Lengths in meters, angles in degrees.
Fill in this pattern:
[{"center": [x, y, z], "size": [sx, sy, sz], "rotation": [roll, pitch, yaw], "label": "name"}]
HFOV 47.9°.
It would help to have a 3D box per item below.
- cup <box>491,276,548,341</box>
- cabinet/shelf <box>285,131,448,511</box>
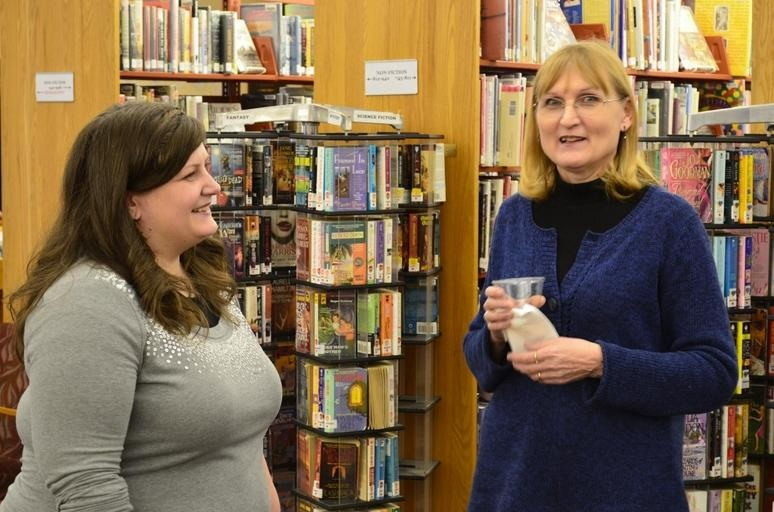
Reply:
[{"center": [0.429, 0.171, 2.820], "size": [0.192, 0.144, 0.185], "rotation": [-1, -1, 0], "label": "cup"}, {"center": [-0.091, 0.357, 4.548], "size": [0.840, 1.877, 0.362], "rotation": [-6, 5, -36], "label": "cabinet/shelf"}]
